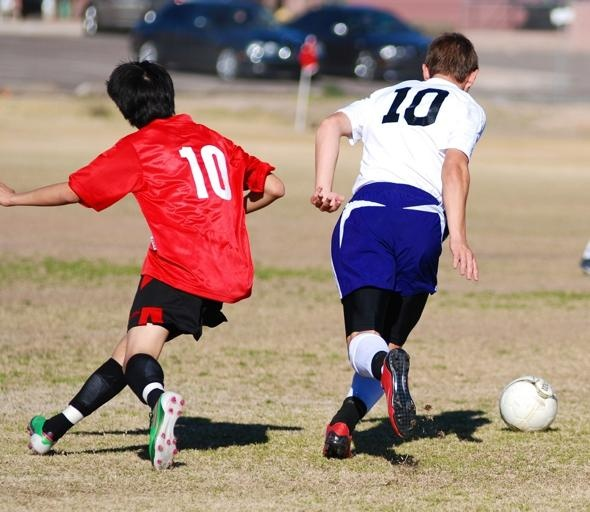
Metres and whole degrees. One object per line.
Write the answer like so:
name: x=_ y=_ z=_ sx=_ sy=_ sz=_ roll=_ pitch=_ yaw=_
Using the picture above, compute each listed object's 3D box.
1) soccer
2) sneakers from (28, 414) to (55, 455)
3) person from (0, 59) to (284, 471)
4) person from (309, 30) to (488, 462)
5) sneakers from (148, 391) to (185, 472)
soccer: x=1.412 y=0.926 z=6.774 sx=0.325 sy=0.347 sz=0.354 roll=7 pitch=37 yaw=1
sneakers: x=-1.386 y=0.973 z=6.003 sx=0.126 sy=0.215 sz=0.091 roll=5 pitch=-36 yaw=-47
person: x=-0.746 y=0.035 z=5.955 sx=1.310 sy=2.141 sz=0.771 roll=3 pitch=11 yaw=-1
person: x=0.637 y=-0.203 z=5.996 sx=0.931 sy=2.031 sz=1.005 roll=-5 pitch=13 yaw=-38
sneakers: x=-0.665 y=0.892 z=5.658 sx=0.149 sy=0.420 sz=0.200 roll=-2 pitch=15 yaw=-38
